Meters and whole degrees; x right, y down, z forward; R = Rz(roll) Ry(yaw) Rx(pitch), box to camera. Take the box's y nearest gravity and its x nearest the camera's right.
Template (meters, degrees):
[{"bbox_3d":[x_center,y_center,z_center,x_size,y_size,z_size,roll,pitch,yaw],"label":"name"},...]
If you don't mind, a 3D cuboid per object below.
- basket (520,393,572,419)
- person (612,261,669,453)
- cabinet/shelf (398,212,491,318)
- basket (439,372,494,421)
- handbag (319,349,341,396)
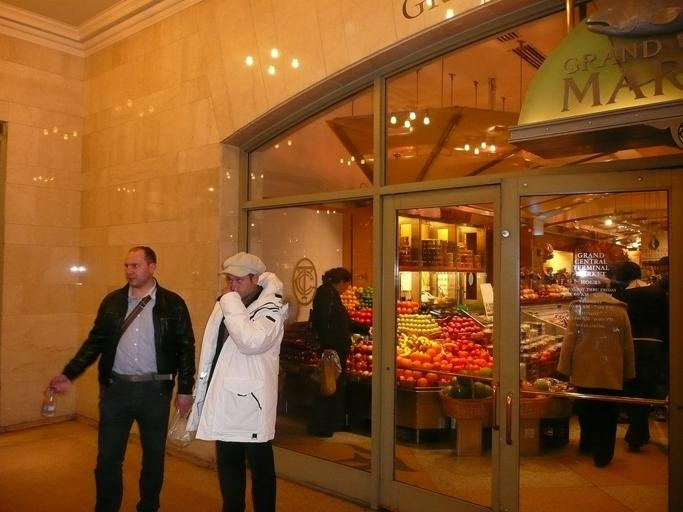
[{"bbox_3d":[1.502,1.110,4.074,0.256,0.086,0.182,0,-4,16],"label":"basket"},{"bbox_3d":[2.075,0.705,3.822,0.315,1.319,0.100,1,-2,28],"label":"person"},{"bbox_3d":[0.889,0.108,4.607,0.645,0.749,0.270,0,0,6],"label":"cabinet/shelf"},{"bbox_3d":[1.011,1.126,4.430,0.317,0.247,0.358,2,-5,-5],"label":"basket"},{"bbox_3d":[-0.112,1.085,5.140,0.220,0.398,0.107,3,3,28],"label":"handbag"}]
